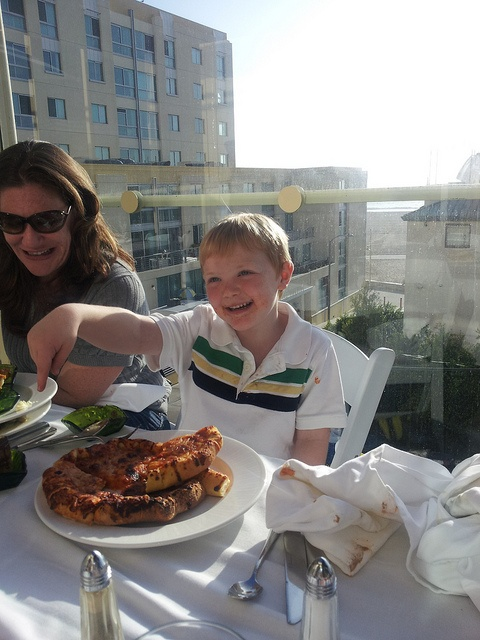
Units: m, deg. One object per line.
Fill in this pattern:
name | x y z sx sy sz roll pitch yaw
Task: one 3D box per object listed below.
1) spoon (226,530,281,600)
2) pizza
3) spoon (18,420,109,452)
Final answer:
spoon | 0.018 0.247 0.491 0.023 0.014 0.115 6 6 16
pizza | -0.133 0.178 0.611 0.126 0.040 0.120 -1 8 -32
spoon | -0.296 0.197 0.820 0.143 0.024 0.033 -11 33 -39
